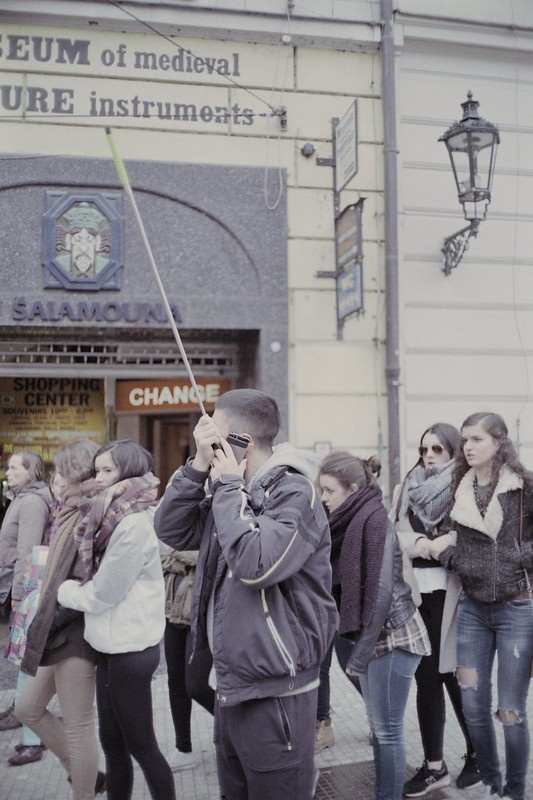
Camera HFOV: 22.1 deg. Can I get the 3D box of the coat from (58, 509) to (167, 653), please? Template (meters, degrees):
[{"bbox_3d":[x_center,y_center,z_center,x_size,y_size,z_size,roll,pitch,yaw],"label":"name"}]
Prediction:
[{"bbox_3d":[-0.750,0.955,6.951,0.604,0.825,0.599,3,-10,-9],"label":"coat"}]

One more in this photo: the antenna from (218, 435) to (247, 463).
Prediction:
[{"bbox_3d":[-0.150,0.218,5.906,0.061,0.125,0.064,15,-31,-18],"label":"antenna"}]

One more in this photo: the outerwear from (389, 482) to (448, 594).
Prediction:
[{"bbox_3d":[0.842,0.801,7.358,0.330,0.501,0.171,1,-7,20],"label":"outerwear"}]

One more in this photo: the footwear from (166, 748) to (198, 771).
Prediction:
[{"bbox_3d":[-0.469,2.014,7.532,0.185,0.140,0.081,2,-13,-7],"label":"footwear"}]

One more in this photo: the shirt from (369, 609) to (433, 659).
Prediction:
[{"bbox_3d":[0.686,1.210,6.856,0.230,0.336,0.206,-17,-38,16],"label":"shirt"}]

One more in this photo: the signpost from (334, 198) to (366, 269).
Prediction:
[{"bbox_3d":[0.601,-1.217,10.023,0.106,0.621,0.514,1,-4,-14],"label":"signpost"}]

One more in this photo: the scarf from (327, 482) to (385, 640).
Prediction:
[{"bbox_3d":[0.453,0.816,6.803,0.183,0.636,0.482,4,-13,-9],"label":"scarf"}]

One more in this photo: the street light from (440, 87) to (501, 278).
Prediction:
[{"bbox_3d":[1.497,-1.693,10.128,0.437,1.415,1.212,-1,-4,9],"label":"street light"}]

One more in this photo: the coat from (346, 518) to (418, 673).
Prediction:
[{"bbox_3d":[0.590,0.983,6.810,0.168,0.743,0.462,-4,-5,35],"label":"coat"}]

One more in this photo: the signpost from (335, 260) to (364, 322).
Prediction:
[{"bbox_3d":[0.605,-0.800,9.977,0.053,0.403,0.376,2,-11,-14],"label":"signpost"}]

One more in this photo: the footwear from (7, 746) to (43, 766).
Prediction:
[{"bbox_3d":[-1.354,2.026,7.665,0.210,0.100,0.073,7,-8,-26],"label":"footwear"}]

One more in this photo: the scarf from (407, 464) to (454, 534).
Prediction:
[{"bbox_3d":[0.892,0.547,7.405,0.132,0.349,0.274,6,1,-39],"label":"scarf"}]
